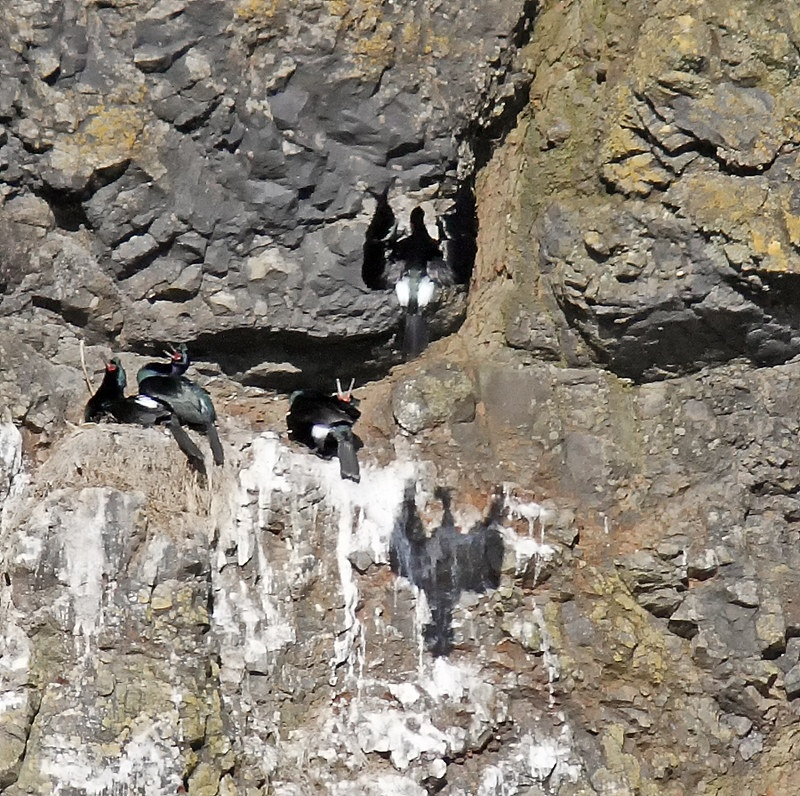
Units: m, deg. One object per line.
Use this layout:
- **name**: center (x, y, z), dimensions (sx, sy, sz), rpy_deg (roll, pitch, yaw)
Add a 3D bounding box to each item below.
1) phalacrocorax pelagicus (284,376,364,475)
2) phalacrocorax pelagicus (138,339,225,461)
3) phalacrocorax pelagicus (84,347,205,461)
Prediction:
- **phalacrocorax pelagicus**: center (-0.626, 0.293, 20.699), dimensions (0.410, 0.715, 0.932), rpy_deg (6, -6, -28)
- **phalacrocorax pelagicus**: center (-1.805, 0.072, 20.424), dimensions (0.672, 0.913, 0.474), rpy_deg (0, -6, 32)
- **phalacrocorax pelagicus**: center (-2.112, 0.003, 20.679), dimensions (0.807, 0.499, 0.942), rpy_deg (-17, 37, -16)
